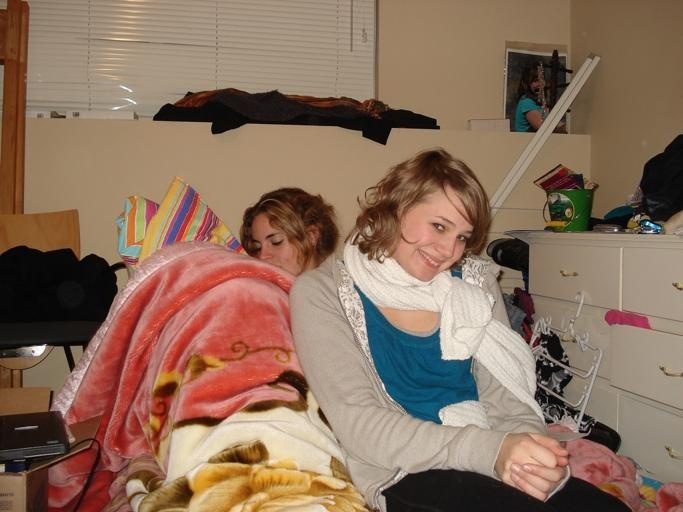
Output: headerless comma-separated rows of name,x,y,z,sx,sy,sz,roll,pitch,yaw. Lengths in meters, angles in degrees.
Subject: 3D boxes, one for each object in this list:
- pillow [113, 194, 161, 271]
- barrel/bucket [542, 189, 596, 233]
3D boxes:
pillow,-0.875,-0.098,2.585,0.220,0.283,0.080,1,-9,28
barrel/bucket,1.131,-0.217,2.931,0.203,0.174,0.196,-2,-2,0
